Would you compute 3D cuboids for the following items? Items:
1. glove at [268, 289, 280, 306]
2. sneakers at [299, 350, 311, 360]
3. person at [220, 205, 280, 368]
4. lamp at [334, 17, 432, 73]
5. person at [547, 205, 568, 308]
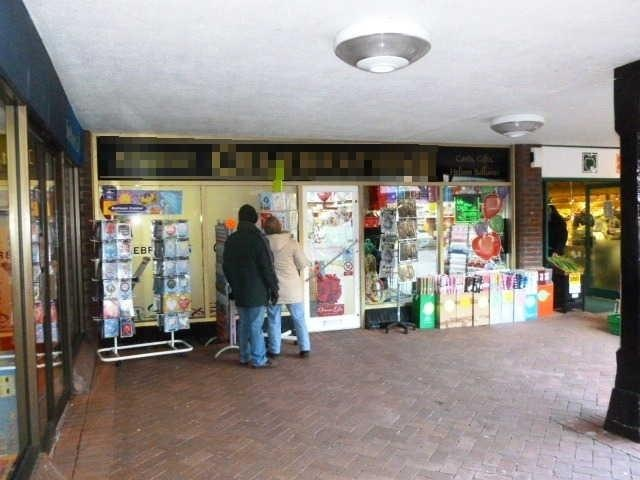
[{"bbox_3d":[-0.637,0.810,6.685,0.145,0.195,0.070,15,1,26],"label":"glove"},{"bbox_3d":[-0.227,1.700,7.118,0.115,0.093,0.220,0,-6,-3],"label":"sneakers"},{"bbox_3d":[-0.958,0.662,6.715,0.777,2.241,0.422,3,7,29],"label":"person"},{"bbox_3d":[0.556,-1.718,4.282,0.854,0.332,0.475,-1,6,1],"label":"lamp"},{"bbox_3d":[4.991,0.337,10.097,0.434,2.046,1.443,2,7,25],"label":"person"}]
